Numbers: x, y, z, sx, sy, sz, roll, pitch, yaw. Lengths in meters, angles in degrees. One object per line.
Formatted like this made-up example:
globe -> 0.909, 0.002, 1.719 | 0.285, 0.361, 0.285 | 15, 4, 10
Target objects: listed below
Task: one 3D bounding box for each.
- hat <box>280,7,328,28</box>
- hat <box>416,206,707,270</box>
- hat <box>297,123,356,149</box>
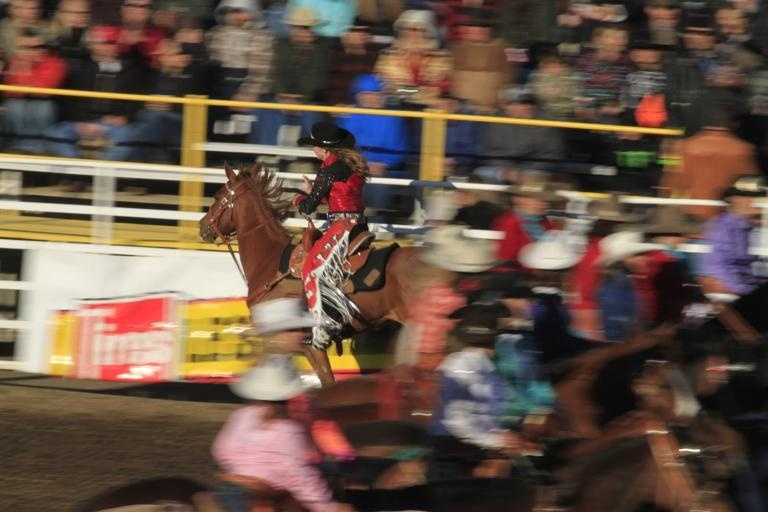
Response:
hat -> -0.475, -1.416, 8.205 | 0.136, 0.149, 0.172 | -25, 63, -21
hat -> 1.126, -0.114, 7.099 | 0.944, 0.259, 0.314 | -2, 56, -8
hat -> -0.346, -0.727, 8.456 | 0.325, 0.068, 0.199 | 5, 14, -5
